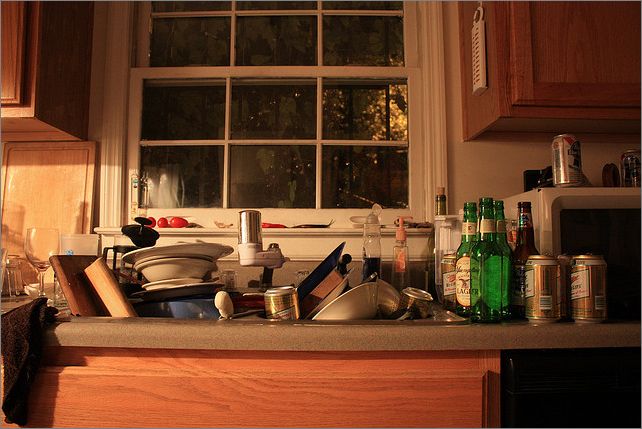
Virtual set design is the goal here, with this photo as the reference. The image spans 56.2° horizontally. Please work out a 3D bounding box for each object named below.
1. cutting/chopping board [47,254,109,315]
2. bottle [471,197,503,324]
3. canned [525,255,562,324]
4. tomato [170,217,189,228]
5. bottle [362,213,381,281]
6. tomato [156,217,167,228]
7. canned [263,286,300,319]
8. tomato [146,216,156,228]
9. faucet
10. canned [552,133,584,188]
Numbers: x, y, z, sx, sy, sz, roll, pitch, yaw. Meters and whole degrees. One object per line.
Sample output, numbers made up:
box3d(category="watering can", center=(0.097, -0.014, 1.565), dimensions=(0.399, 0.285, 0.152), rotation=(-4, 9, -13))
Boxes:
box3d(category="cutting/chopping board", center=(-0.838, 0.260, 2.214), dimensions=(0.224, 0.218, 0.217), rotation=(-1, -3, 25))
box3d(category="bottle", center=(0.581, 0.162, 2.118), dimensions=(0.107, 0.433, 0.070), rotation=(0, -3, 16))
box3d(category="canned", center=(0.776, 0.259, 2.115), dimensions=(0.135, 0.220, 0.131), rotation=(3, -3, -36))
box3d(category="tomato", center=(-0.731, 0.041, 3.077), dimensions=(0.070, 0.049, 0.049), rotation=(1, 6, -24))
box3d(category="bottle", center=(0.212, 0.129, 2.527), dimensions=(0.072, 0.272, 0.248), rotation=(0, -2, 6))
box3d(category="tomato", center=(-0.816, 0.042, 3.076), dimensions=(0.056, 0.056, 0.076), rotation=(1, -2, -17))
box3d(category="canned", center=(-0.141, 0.317, 2.179), dimensions=(0.115, 0.099, 0.112), rotation=(0, -2, -12))
box3d(category="tomato", center=(-0.809, 0.040, 2.849), dimensions=(0.050, 0.043, 0.054), rotation=(-6, -19, 19))
box3d(category="faucet", center=(-0.238, 0.141, 2.342), dimensions=(0.204, 0.295, 0.090), rotation=(6, -13, -29))
box3d(category="canned", center=(0.972, -0.212, 2.372), dimensions=(0.116, 0.213, 0.093), rotation=(-1, -3, 24))
